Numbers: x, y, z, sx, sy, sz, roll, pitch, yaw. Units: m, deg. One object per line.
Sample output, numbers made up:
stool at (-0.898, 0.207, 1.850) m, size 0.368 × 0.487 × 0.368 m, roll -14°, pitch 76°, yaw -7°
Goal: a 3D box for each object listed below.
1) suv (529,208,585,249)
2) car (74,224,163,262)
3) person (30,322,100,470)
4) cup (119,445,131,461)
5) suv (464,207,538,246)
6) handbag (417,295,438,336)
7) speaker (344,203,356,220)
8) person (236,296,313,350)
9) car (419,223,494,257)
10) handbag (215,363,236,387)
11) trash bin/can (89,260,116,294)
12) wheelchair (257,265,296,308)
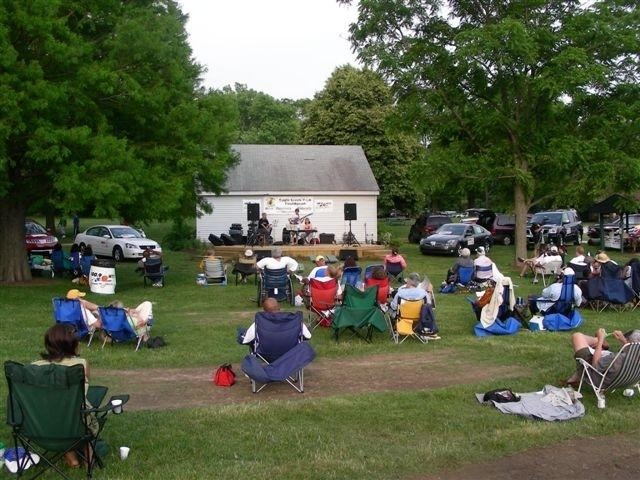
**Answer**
suv at (9.867, -0.556, 36.266) m, size 3.050 × 1.554 × 1.381 m, roll 0°, pitch 1°, yaw -36°
car at (-7.877, 0.081, 32.969) m, size 3.977 × 1.390 × 1.812 m, roll -1°, pitch -2°, yaw 40°
person at (-4.317, 2.563, 14.522) m, size 1.190 × 2.379 × 1.048 m, roll 0°, pitch 8°, yaw -34°
cup at (-3.350, 3.649, 14.481) m, size 0.190 × 0.181 × 0.217 m, roll 1°, pitch 1°, yaw -13°
suv at (8.565, -0.575, 40.281) m, size 3.305 × 1.842 × 3.185 m, roll 0°, pitch 4°, yaw 14°
handbag at (2.478, 1.761, 19.086) m, size 0.307 × 0.842 × 0.458 m, roll 2°, pitch 1°, yaw 40°
speaker at (1.264, -1.178, 34.775) m, size 0.602 × 0.924 × 0.589 m, roll 0°, pitch -1°, yaw -2°
person at (-0.987, 1.631, 17.292) m, size 1.274 × 1.013 × 1.055 m, roll 2°, pitch 2°, yaw -5°
car at (5.621, -0.019, 34.532) m, size 1.261 × 0.952 × 2.710 m, roll -2°, pitch -2°, yaw 40°
handbag at (-1.898, 2.686, 16.814) m, size 0.451 × 0.417 × 0.427 m, roll 1°, pitch 1°, yaw -8°
trash bin/can at (-6.349, 1.085, 24.556) m, size 0.825 × 0.923 × 0.849 m, roll 3°, pitch -2°, yaw -11°
wheelchair at (-1.087, 1.177, 21.814) m, size 0.812 × 1.028 × 0.768 m, roll 2°, pitch 3°, yaw -11°
